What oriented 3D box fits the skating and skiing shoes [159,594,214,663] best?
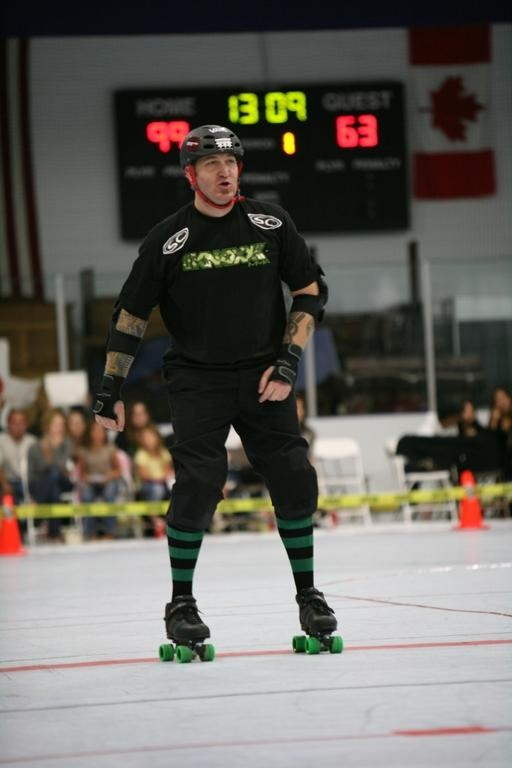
[{"bbox_3d":[-0.166,0.592,2.231,0.114,0.139,0.223,4,-14,-15],"label":"skating and skiing shoes"}]

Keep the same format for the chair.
[{"bbox_3d":[-0.212,0.681,5.842,2.940,0.378,0.573,-3,15,-8],"label":"chair"}]

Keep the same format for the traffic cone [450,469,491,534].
[{"bbox_3d":[1.517,0.835,6.607,0.224,0.393,0.249,-5,6,-31],"label":"traffic cone"}]
